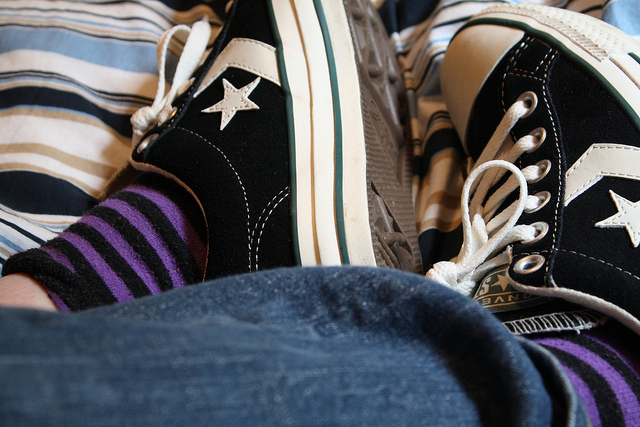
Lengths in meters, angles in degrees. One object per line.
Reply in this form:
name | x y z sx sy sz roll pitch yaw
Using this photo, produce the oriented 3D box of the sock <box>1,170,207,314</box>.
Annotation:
sock | -0.298 0.063 0.991 0.197 0.089 0.291 37 58 20
